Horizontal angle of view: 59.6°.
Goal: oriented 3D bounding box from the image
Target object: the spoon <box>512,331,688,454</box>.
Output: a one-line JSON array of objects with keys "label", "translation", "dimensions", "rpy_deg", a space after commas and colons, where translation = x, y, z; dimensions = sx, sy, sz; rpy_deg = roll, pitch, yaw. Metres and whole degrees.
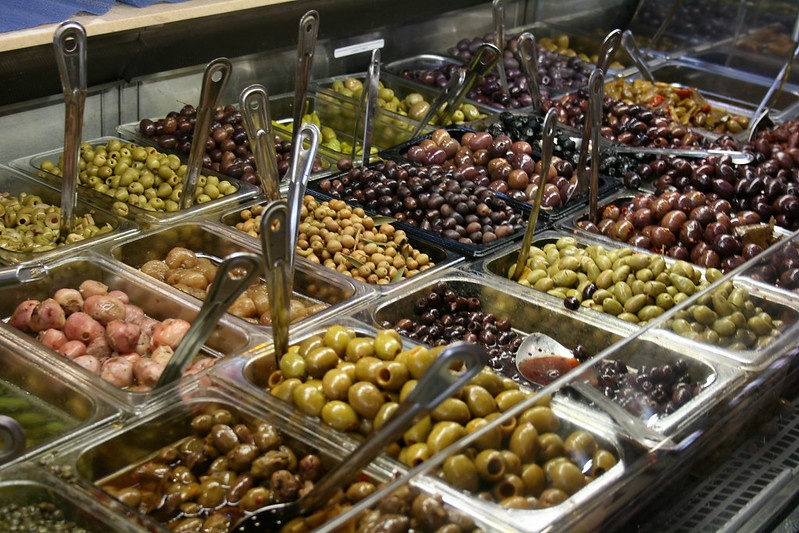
[{"label": "spoon", "translation": [0.569, 0.380, 2.122], "dimensions": [0.217, 0.109, 0.645], "rpy_deg": [-10, 26, -17]}]
